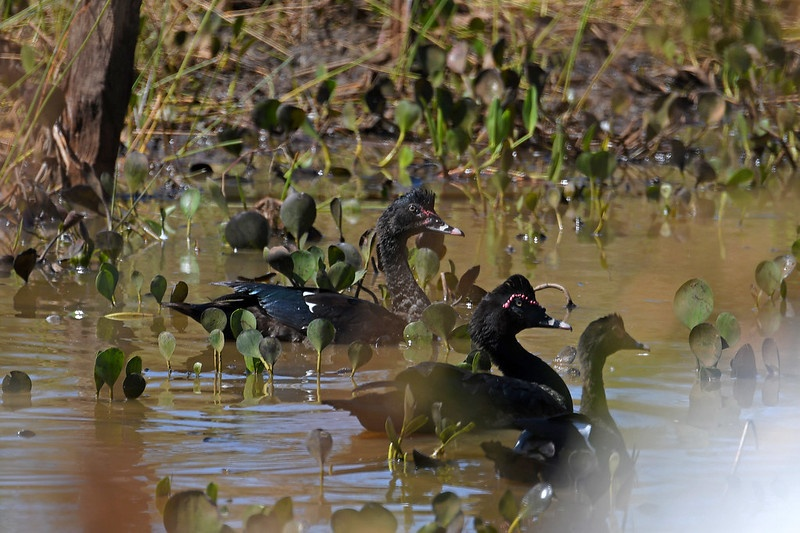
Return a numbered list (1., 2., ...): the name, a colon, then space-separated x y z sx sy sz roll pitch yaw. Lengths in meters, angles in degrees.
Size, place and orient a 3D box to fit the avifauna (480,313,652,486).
1. avifauna: 1.013 0.891 6.235 1.450 1.158 0.573 2 -4 -37
